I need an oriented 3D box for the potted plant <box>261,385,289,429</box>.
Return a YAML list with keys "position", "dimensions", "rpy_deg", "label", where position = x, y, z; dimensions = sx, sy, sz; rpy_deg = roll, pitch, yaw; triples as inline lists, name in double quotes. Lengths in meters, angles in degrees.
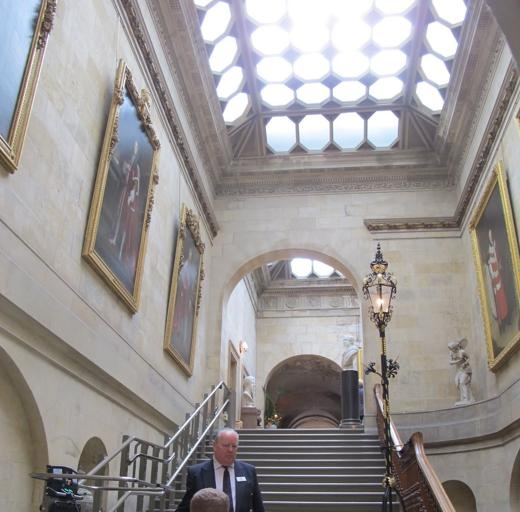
- position: [0.464, 7.116, 20.857]
  dimensions: [0.779, 1.976, 1.172]
  rpy_deg: [6, -41, -21]
  label: "potted plant"
